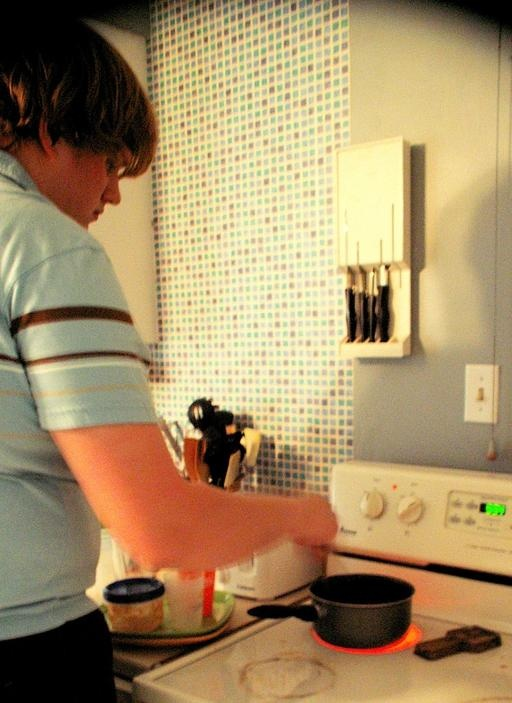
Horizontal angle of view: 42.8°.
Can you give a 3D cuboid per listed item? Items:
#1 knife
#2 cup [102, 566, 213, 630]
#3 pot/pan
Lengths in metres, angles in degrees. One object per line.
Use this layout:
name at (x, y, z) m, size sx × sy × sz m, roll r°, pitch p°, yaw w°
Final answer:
knife at (0.226, -0.095, 1.322) m, size 0.099 × 0.158 × 0.054 m, roll -3°, pitch 0°, yaw 19°
cup at (-0.175, 0.406, 1.103) m, size 0.139 × 0.055 × 0.097 m, roll 1°, pitch 0°, yaw -10°
pot/pan at (0.125, 0.379, 1.030) m, size 0.207 × 0.065 × 0.120 m, roll -4°, pitch -3°, yaw -19°
